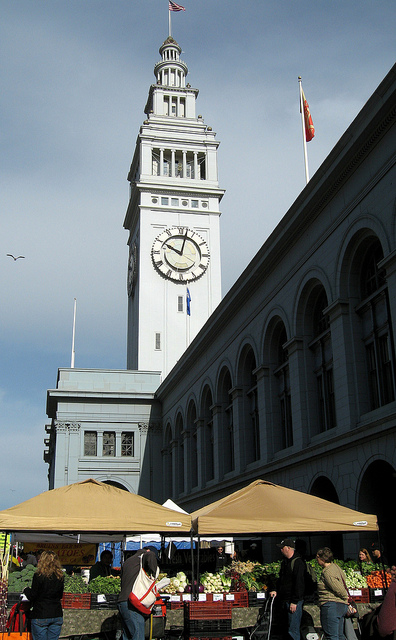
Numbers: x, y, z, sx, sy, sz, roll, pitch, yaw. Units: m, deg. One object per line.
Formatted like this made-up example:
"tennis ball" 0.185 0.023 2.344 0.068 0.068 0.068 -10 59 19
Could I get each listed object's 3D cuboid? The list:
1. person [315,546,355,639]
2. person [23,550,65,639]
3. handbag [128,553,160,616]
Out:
"person" 1.940 3.831 9.197 0.507 1.170 0.785 -4 -18 11
"person" -2.059 3.687 8.743 0.522 1.113 0.387 5 -18 -18
"handbag" -0.705 3.720 9.054 0.225 0.870 0.364 -7 -49 5
